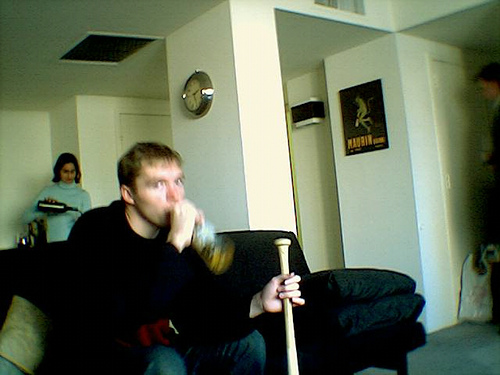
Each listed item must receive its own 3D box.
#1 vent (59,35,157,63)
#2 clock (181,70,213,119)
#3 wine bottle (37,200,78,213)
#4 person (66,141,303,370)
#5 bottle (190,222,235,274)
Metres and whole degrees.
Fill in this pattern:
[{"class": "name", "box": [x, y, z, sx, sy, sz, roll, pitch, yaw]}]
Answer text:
[{"class": "vent", "box": [-1.148, -1.107, 3.670, 0.462, 0.065, 0.800, -7, 3, -41]}, {"class": "clock", "box": [-0.376, -0.649, 3.227, 0.075, 0.321, 0.322, -6, 2, -37]}, {"class": "wine bottle", "box": [-1.676, 0.172, 3.983, 0.320, 0.121, 0.177, -6, 2, -25]}, {"class": "person", "box": [-0.323, 0.278, 1.808, 0.757, 0.882, 0.333, -5, 1, -3]}, {"class": "bottle", "box": [-0.175, 0.287, 1.987, 0.107, 0.344, 0.081, 27, -58, -34]}]
